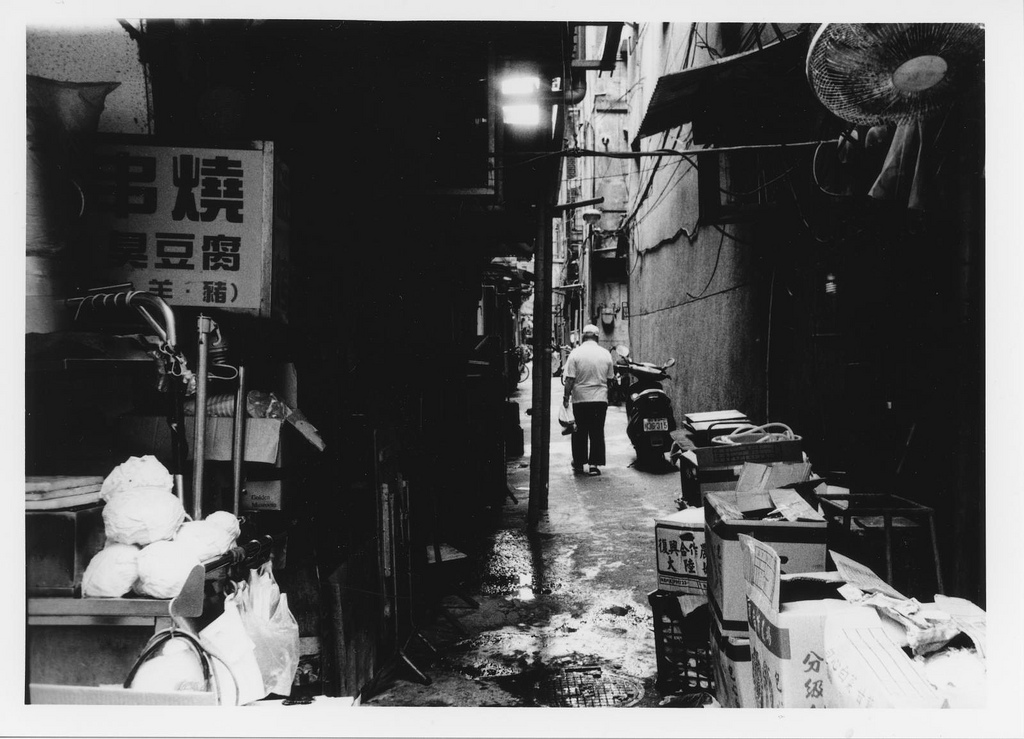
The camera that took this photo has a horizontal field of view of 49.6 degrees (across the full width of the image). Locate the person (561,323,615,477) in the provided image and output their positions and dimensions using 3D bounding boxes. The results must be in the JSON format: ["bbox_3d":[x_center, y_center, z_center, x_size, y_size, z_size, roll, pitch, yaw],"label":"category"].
[{"bbox_3d":[0.908,0.369,13.489,0.603,1.636,0.798,0,0,-2],"label":"person"}]

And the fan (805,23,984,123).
[{"bbox_3d":[2.567,-2.000,7.498,1.141,0.663,0.261,1,14,-5],"label":"fan"}]

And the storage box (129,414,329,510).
[{"bbox_3d":[-2.036,0.628,7.777,0.789,0.741,0.965,10,11,-27],"label":"storage box"}]

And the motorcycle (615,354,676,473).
[{"bbox_3d":[1.727,0.475,14.307,0.706,1.345,1.906,4,11,-2],"label":"motorcycle"}]
